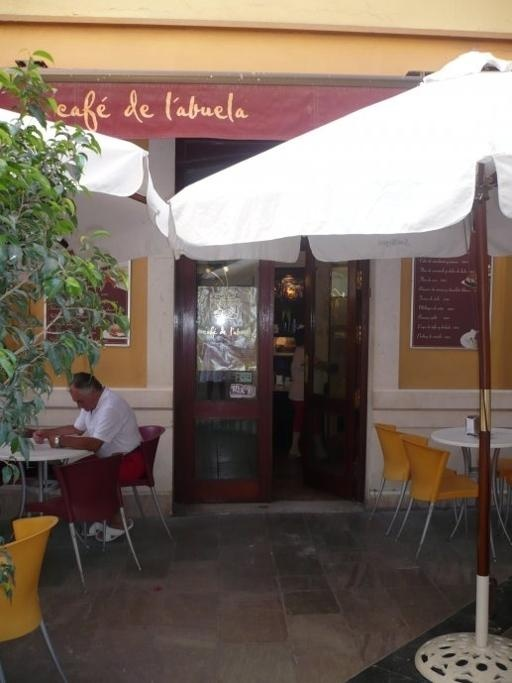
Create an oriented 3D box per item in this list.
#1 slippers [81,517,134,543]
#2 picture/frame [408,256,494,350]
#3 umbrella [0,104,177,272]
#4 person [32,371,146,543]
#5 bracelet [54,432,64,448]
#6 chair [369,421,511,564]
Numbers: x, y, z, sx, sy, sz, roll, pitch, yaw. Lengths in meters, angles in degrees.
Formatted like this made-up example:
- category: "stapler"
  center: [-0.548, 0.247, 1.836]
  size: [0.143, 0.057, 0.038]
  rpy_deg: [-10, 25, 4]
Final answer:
- category: "slippers"
  center: [-1.142, 1.440, 4.787]
  size: [0.194, 0.145, 0.383]
  rpy_deg: [3, 5, 14]
- category: "picture/frame"
  center: [1.551, -0.309, 5.209]
  size: [0.656, 1.143, 0.106]
  rpy_deg: [0, -1, -1]
- category: "umbrella"
  center: [-0.748, -0.755, 3.341]
  size: [0.563, 0.579, 1.038]
  rpy_deg: [0, 2, -8]
- category: "person"
  center: [-1.193, 0.846, 4.726]
  size: [0.708, 1.263, 0.508]
  rpy_deg: [-8, 9, -31]
- category: "bracelet"
  center: [-1.358, 0.682, 4.376]
  size: [0.070, 0.092, 0.060]
  rpy_deg: [5, -2, -8]
- category: "chair"
  center: [1.463, 1.058, 4.895]
  size: [0.830, 0.931, 0.869]
  rpy_deg: [-1, 4, 1]
